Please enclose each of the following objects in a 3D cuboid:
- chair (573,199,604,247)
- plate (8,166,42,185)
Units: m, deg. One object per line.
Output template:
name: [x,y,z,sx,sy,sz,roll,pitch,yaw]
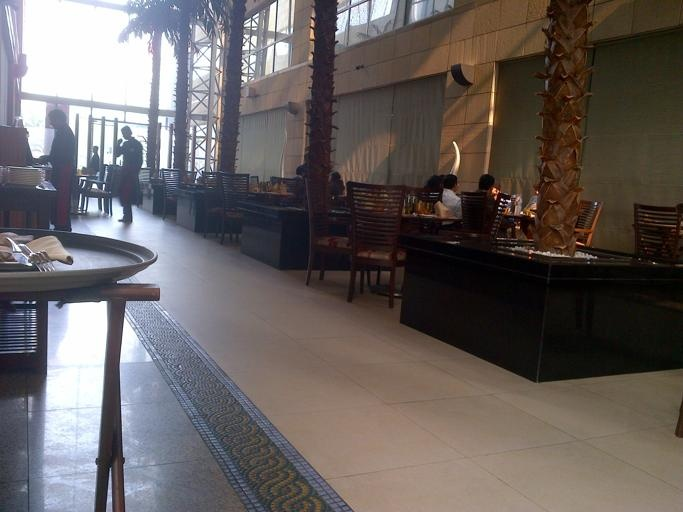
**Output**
chair: [3.481,-0.586,6.826,0.416,0.592,0.456,6,-24,24]
plate: [-2.840,-0.725,4.378,0.208,0.088,0.176,1,8,-6]
